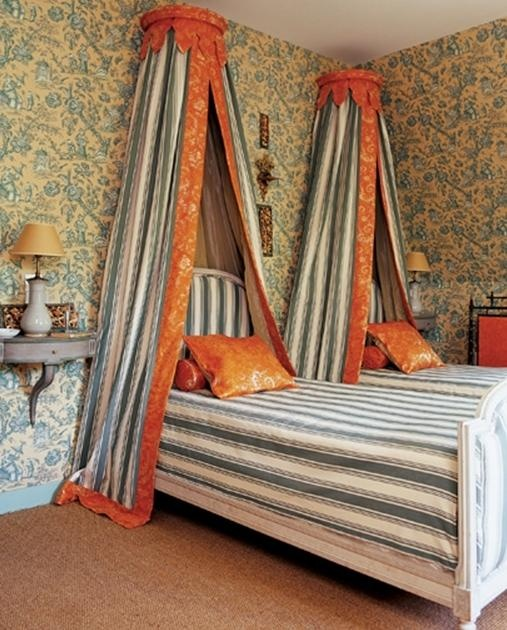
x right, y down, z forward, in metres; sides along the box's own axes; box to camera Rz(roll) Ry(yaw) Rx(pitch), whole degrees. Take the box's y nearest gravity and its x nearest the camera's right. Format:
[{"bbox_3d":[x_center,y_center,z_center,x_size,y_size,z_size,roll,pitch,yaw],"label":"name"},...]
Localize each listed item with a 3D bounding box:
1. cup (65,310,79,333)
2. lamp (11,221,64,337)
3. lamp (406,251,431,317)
[{"bbox_3d":[-0.921,0.026,2.724,0.061,0.115,0.117,1,-1,-19],"label":"cup"},{"bbox_3d":[-1.023,-0.167,2.544,0.222,0.523,0.328,1,-1,-23],"label":"lamp"},{"bbox_3d":[1.268,-0.242,4.209,0.254,0.465,0.240,1,-3,28],"label":"lamp"}]
